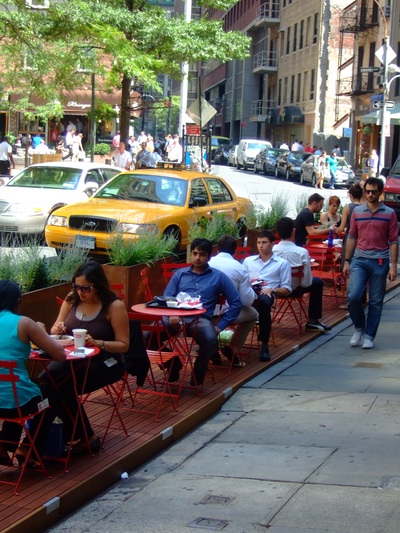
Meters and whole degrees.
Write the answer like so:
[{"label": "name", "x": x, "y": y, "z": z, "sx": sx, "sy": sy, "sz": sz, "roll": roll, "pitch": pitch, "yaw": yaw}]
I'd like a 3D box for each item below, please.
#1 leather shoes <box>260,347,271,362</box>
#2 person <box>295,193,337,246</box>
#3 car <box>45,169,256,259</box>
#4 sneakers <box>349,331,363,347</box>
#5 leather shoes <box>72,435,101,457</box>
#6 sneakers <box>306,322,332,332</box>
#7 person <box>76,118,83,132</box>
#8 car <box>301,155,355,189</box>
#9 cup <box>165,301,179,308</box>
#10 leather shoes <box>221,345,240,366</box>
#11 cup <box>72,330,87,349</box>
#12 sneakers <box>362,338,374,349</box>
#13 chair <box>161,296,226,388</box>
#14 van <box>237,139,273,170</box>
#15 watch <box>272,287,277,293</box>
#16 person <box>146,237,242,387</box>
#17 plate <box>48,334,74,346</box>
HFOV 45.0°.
[{"label": "leather shoes", "x": 0.826, "y": 1.108, "z": 6.146, "sx": 0.122, "sy": 0.136, "sz": 0.179, "roll": -6, "pitch": -4, "yaw": 11}, {"label": "person", "x": 2.294, "y": -0.876, "z": 9.699, "sx": 0.833, "sy": 1.086, "sz": 0.815, "roll": 6, "pitch": 14, "yaw": 10}, {"label": "car", "x": -0.916, "y": -1.302, "z": 11.074, "sx": 2.357, "sy": 1.326, "sz": 4.498, "roll": 3, "pitch": 5, "yaw": 30}, {"label": "sneakers", "x": 2.276, "y": 1.040, "z": 6.997, "sx": 0.120, "sy": 0.127, "sz": 0.340, "roll": 3, "pitch": 19, "yaw": 26}, {"label": "leather shoes", "x": -0.755, "y": 1.205, "z": 3.233, "sx": 0.113, "sy": 0.055, "sz": 0.172, "roll": 0, "pitch": 10, "yaw": 24}, {"label": "sneakers", "x": 1.900, "y": 0.947, "z": 7.616, "sx": 0.449, "sy": 0.163, "sz": 0.141, "roll": 1, "pitch": 2, "yaw": -5}, {"label": "person", "x": -10.115, "y": -11.811, "z": 40.588, "sx": 0.619, "sy": 1.419, "sz": 0.829, "roll": -5, "pitch": -4, "yaw": -14}, {"label": "car", "x": 8.992, "y": -6.749, "z": 34.381, "sx": 2.459, "sy": 1.636, "sz": 3.934, "roll": 0, "pitch": 5, "yaw": -16}, {"label": "cup", "x": -0.253, "y": 0.363, "z": 4.550, "sx": 0.128, "sy": 0.074, "sz": 0.084, "roll": -4, "pitch": -4, "yaw": -14}, {"label": "leather shoes", "x": 0.385, "y": 1.065, "z": 5.850, "sx": 0.170, "sy": 0.296, "sz": 0.085, "roll": -19, "pitch": 20, "yaw": 51}, {"label": "cup", "x": -0.748, "y": 0.462, "z": 3.072, "sx": 0.120, "sy": 0.109, "sz": 0.112, "roll": 4, "pitch": -5, "yaw": 0}, {"label": "sneakers", "x": 2.364, "y": 1.084, "z": 6.768, "sx": 0.101, "sy": 0.096, "sz": 0.258, "roll": -1, "pitch": -2, "yaw": 11}, {"label": "chair", "x": -0.163, "y": 0.786, "z": 5.082, "sx": 0.773, "sy": 0.789, "sz": 0.739, "roll": 3, "pitch": 8, "yaw": -3}, {"label": "van", "x": 5.006, "y": -10.676, "z": 45.632, "sx": 2.414, "sy": 1.778, "sz": 4.011, "roll": 0, "pitch": 6, "yaw": -8}, {"label": "watch", "x": 0.968, "y": 0.309, "z": 6.281, "sx": 0.057, "sy": 0.068, "sz": 0.082, "roll": 3, "pitch": 13, "yaw": 5}, {"label": "person", "x": -0.079, "y": 0.465, "z": 5.102, "sx": 1.153, "sy": 1.441, "sz": 0.909, "roll": 0, "pitch": 3, "yaw": -8}, {"label": "plate", "x": -0.874, "y": 0.472, "z": 3.122, "sx": 0.146, "sy": 0.035, "sz": 0.140, "roll": 5, "pitch": -1, "yaw": 8}]
